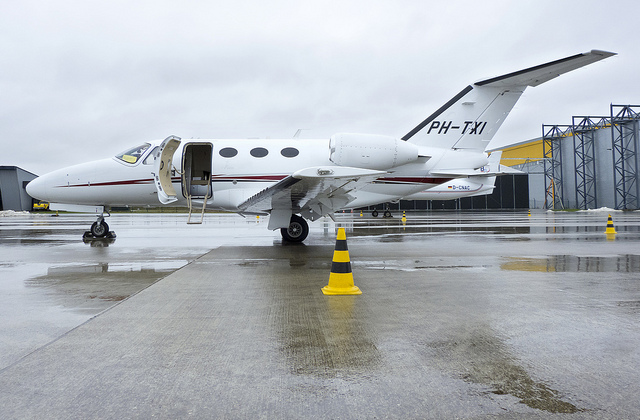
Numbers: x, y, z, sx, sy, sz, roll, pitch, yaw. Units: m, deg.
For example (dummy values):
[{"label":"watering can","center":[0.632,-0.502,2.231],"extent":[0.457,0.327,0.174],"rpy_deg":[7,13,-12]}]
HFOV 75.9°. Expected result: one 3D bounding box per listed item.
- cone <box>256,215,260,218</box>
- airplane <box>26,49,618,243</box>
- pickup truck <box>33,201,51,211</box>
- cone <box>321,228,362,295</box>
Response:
[{"label":"cone","center":[-2.833,0.290,18.790],"extent":[0.236,0.063,0.248],"rpy_deg":[2,-6,-13]},{"label":"airplane","center":[-0.967,-1.342,12.068],"extent":[9.759,2.240,8.794],"rpy_deg":[1,-2,0]},{"label":"pickup truck","center":[-27.435,-0.443,40.433],"extent":[1.795,0.891,2.383],"rpy_deg":[1,-7,-17]},{"label":"cone","center":[0.325,0.753,6.198],"extent":[0.616,0.982,0.507],"rpy_deg":[0,11,0]}]
